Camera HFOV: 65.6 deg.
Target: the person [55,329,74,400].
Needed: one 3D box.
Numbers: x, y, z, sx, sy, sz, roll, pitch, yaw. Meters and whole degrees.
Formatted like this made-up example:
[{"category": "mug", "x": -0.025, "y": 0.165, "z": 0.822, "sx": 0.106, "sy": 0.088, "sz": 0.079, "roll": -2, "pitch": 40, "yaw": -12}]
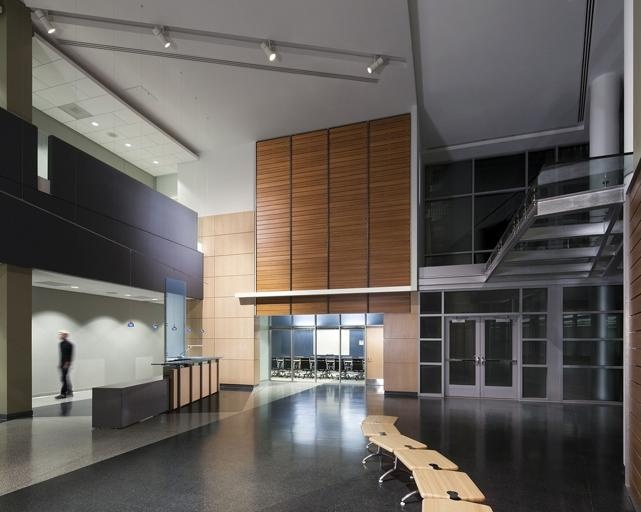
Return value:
[{"category": "person", "x": -6.755, "y": 2.903, "z": 13.200, "sx": 0.404, "sy": 1.854, "sz": 0.881, "roll": 0, "pitch": -1, "yaw": -29}]
